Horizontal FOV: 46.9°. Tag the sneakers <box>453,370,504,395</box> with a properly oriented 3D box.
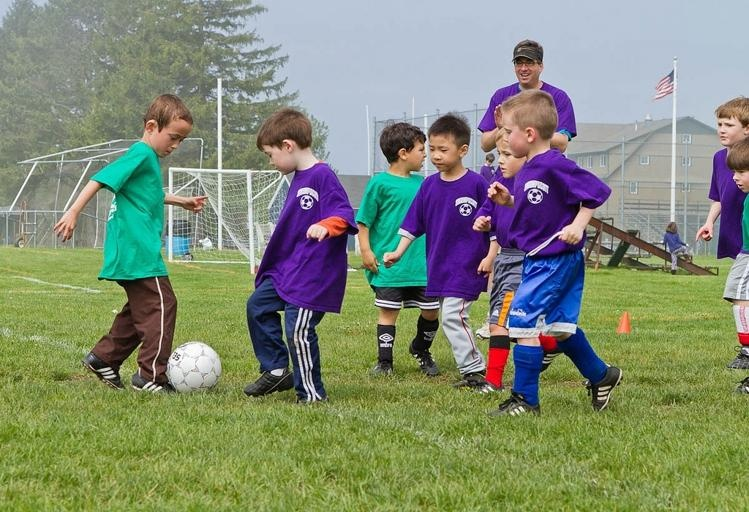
[{"bbox_3d":[0.782,0.961,6.596,0.397,0.171,0.135,6,-8,8],"label":"sneakers"}]

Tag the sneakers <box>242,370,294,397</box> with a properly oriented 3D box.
[{"bbox_3d":[-0.752,0.919,6.317,0.432,0.209,0.145,-10,3,-12],"label":"sneakers"}]

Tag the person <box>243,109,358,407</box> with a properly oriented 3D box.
[{"bbox_3d":[-0.514,0.004,6.089,0.796,1.791,0.348,2,-1,26],"label":"person"}]

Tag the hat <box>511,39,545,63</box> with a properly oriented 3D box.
[{"bbox_3d":[1.248,-1.660,7.010,0.227,0.137,0.177,3,-1,6],"label":"hat"}]

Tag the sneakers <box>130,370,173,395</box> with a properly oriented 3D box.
[{"bbox_3d":[-1.623,0.927,6.267,0.353,0.161,0.127,3,-1,-11],"label":"sneakers"}]

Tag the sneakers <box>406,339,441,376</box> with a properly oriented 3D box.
[{"bbox_3d":[0.430,0.892,7.310,0.135,0.160,0.400,-20,44,-23],"label":"sneakers"}]

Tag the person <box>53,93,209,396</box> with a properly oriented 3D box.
[{"bbox_3d":[-1.762,-0.124,6.256,0.777,2.069,0.434,3,-1,-18],"label":"person"}]

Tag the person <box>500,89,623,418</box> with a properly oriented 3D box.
[{"bbox_3d":[1.211,-0.033,5.846,0.779,1.627,0.413,3,-1,12],"label":"person"}]

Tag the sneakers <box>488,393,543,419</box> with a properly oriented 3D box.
[{"bbox_3d":[0.947,1.009,5.761,0.370,0.159,0.133,0,-9,-10],"label":"sneakers"}]

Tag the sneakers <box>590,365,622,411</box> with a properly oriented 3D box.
[{"bbox_3d":[1.581,0.902,5.998,0.198,0.394,0.133,8,12,-9],"label":"sneakers"}]
